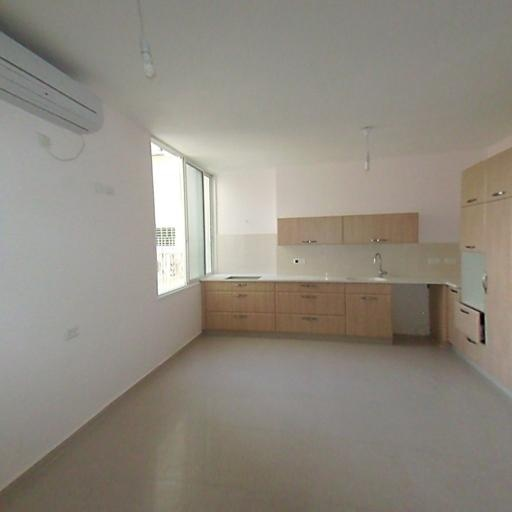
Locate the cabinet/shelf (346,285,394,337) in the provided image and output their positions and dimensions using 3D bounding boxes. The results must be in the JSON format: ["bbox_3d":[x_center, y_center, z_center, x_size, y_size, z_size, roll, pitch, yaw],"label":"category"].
[{"bbox_3d":[1.413,0.676,5.474,0.638,0.957,0.561,-2,-6,14],"label":"cabinet/shelf"}]

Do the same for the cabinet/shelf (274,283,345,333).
[{"bbox_3d":[0.705,0.697,5.446,0.873,0.809,0.571,-1,-6,15],"label":"cabinet/shelf"}]
